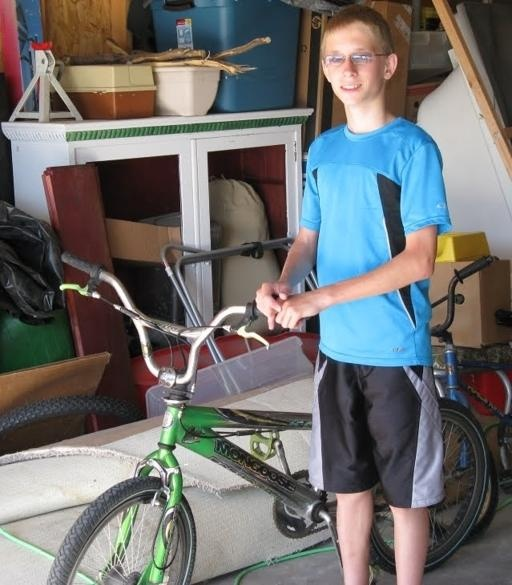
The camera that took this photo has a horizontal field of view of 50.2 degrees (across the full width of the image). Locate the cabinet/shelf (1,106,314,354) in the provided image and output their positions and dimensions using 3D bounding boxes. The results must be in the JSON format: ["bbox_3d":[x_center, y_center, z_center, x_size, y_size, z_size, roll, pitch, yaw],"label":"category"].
[{"bbox_3d":[-0.495,-0.289,2.447,1.260,1.040,0.434,-18,27,-37],"label":"cabinet/shelf"}]

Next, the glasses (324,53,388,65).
[{"bbox_3d":[0.202,-0.481,1.131,0.123,0.021,0.050,2,22,12],"label":"glasses"}]

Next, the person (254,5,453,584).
[{"bbox_3d":[0.247,0.132,1.279,0.390,1.474,0.491,2,25,13],"label":"person"}]

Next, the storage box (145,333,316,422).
[{"bbox_3d":[-0.114,0.322,2.369,0.597,0.196,0.346,-10,-8,-34],"label":"storage box"}]

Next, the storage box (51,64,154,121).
[{"bbox_3d":[-0.668,-0.920,2.510,0.432,0.237,0.248,-9,23,-14],"label":"storage box"}]
